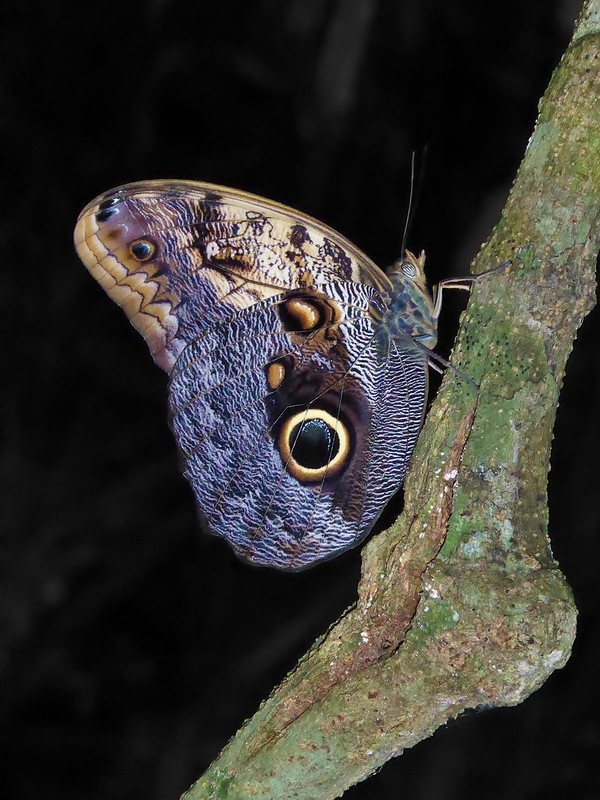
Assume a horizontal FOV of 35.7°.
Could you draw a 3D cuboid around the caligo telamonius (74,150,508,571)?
[{"bbox_3d":[-0.005,-0.077,2.264,0.758,0.689,0.841,-19,67,-1],"label":"caligo telamonius"}]
